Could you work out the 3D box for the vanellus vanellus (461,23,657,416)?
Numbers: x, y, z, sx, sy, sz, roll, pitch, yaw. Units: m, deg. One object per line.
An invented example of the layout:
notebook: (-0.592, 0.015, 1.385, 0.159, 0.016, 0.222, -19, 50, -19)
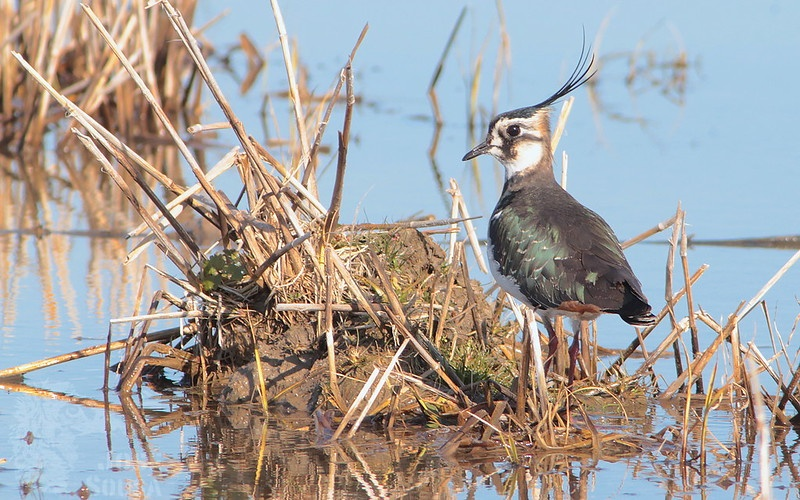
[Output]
vanellus vanellus: (2.190, -0.454, 9.974, 1.806, 2.657, 2.815, -3, 9, -29)
